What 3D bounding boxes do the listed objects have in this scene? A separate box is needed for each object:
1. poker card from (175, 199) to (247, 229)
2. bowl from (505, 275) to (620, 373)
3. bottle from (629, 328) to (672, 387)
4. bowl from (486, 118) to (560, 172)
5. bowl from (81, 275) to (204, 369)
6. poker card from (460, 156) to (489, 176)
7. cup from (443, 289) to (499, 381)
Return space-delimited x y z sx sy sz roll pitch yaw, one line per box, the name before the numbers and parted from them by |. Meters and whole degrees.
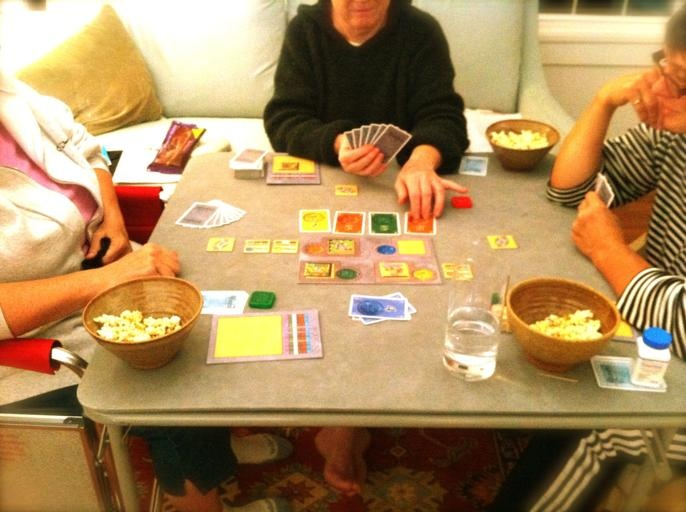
poker card | -0.419 -0.129 1.606 0.156 0.006 0.099 3 38 -1
bowl | 0.477 0.142 1.143 0.227 0.112 0.186 2 43 5
bottle | 0.669 0.221 1.093 0.087 0.119 0.092 -1 45 1
bowl | 0.650 -0.398 1.863 0.243 0.107 0.234 -4 45 4
bowl | -0.451 0.122 1.165 0.265 0.114 0.221 -7 42 -3
poker card | 0.483 -0.328 1.882 0.128 0.014 0.098 3 46 -2
cup | 0.287 0.182 1.136 0.163 0.217 0.131 -7 45 1
